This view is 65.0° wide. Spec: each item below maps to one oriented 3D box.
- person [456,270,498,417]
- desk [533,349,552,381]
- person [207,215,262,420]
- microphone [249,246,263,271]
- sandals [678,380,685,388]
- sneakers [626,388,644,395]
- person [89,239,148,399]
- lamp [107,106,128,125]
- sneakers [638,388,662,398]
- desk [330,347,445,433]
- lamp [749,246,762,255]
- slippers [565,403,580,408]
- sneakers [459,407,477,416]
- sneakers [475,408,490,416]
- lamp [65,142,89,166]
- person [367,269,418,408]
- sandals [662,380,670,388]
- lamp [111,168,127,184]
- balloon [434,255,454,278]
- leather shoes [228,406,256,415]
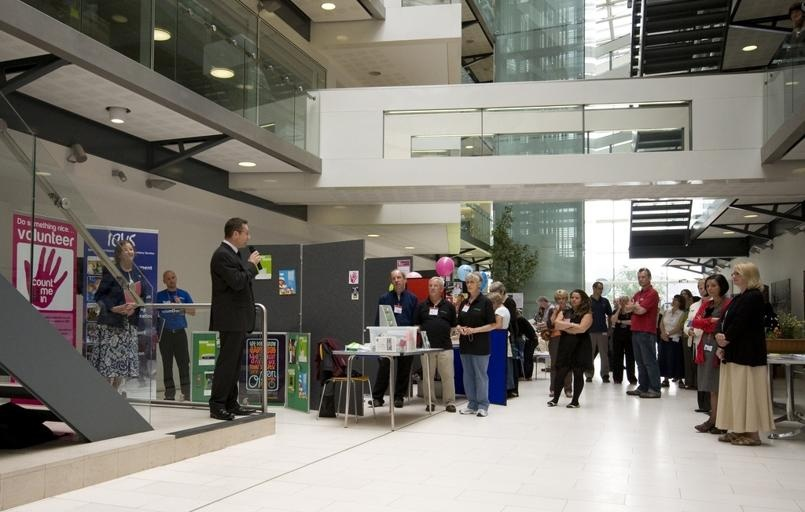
[{"bbox_3d":[1.245,1.477,10.609,0.659,2.373,0.897,-1,-7,4],"label":"person"},{"bbox_3d":[3.670,2.899,16.681,0.729,0.688,1.387,0,-6,11],"label":"desk"},{"bbox_3d":[-2.253,0.832,8.440,0.600,2.710,0.769,4,-8,-29],"label":"person"},{"bbox_3d":[-2.102,0.038,9.157,0.114,0.433,0.125,-8,3,-6],"label":"microphone"},{"bbox_3d":[6.029,2.810,13.711,0.097,0.179,0.184,2,3,25],"label":"sandals"},{"bbox_3d":[4.575,2.706,12.517,0.254,0.095,0.102,0,-7,35],"label":"sneakers"},{"bbox_3d":[-3.412,0.730,7.702,0.576,1.839,0.326,3,-8,-27],"label":"person"},{"bbox_3d":[-4.500,-2.267,10.073,0.254,0.143,0.276,-1,0,-25],"label":"lamp"},{"bbox_3d":[4.756,2.675,12.211,0.317,0.124,0.165,8,-10,-20],"label":"sneakers"},{"bbox_3d":[-0.216,2.094,10.180,1.611,1.188,2.167,-1,-8,3],"label":"desk"},{"bbox_3d":[11.430,-0.197,20.566,0.356,0.092,0.353,24,-20,-16],"label":"lamp"},{"bbox_3d":[2.983,2.632,11.089,0.158,0.061,0.099,3,-4,12],"label":"slippers"},{"bbox_3d":[1.095,2.608,10.542,0.285,0.120,0.102,5,-5,-4],"label":"sneakers"},{"bbox_3d":[1.303,2.583,10.381,0.180,0.122,0.269,-1,-8,6],"label":"sneakers"},{"bbox_3d":[-5.207,-1.674,10.150,0.329,0.368,0.256,0,-3,12],"label":"lamp"},{"bbox_3d":[-0.094,1.478,10.820,0.764,2.477,0.712,0,12,-15],"label":"person"},{"bbox_3d":[5.724,2.806,13.759,0.146,0.164,0.404,-7,-18,22],"label":"sandals"},{"bbox_3d":[-4.862,-1.425,11.025,0.132,0.228,0.351,-3,-8,22],"label":"lamp"},{"bbox_3d":[1.091,0.255,15.657,0.506,0.727,0.514,4,1,16],"label":"balloon"},{"bbox_3d":[-2.199,2.141,8.739,0.337,0.143,0.111,2,-4,-7],"label":"leather shoes"}]
